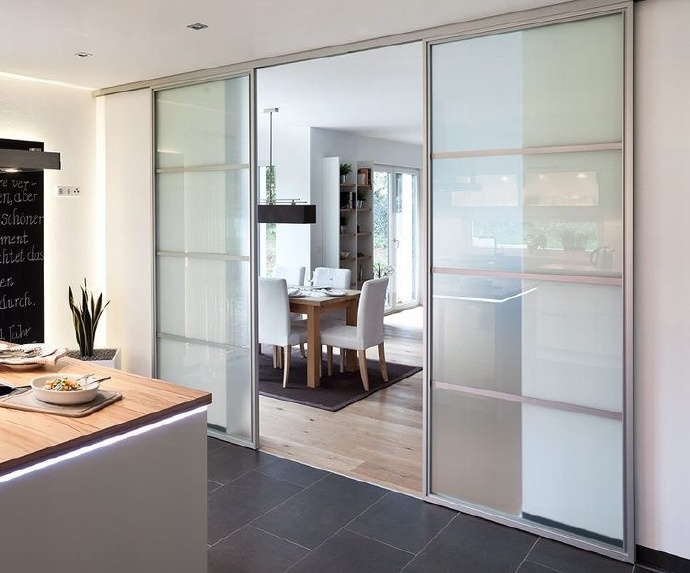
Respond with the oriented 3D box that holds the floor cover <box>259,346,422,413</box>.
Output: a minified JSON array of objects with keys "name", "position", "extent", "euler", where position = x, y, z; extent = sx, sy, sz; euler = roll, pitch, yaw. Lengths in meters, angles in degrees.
[{"name":"floor cover","position":[-0.222,0.879,5.364],"extent":[1.843,0.021,1.888],"euler":[-8,8,-28]}]

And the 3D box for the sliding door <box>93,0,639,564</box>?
[{"name":"sliding door","position":[0.035,-0.027,3.212],"extent":[3.100,2.212,0.230],"euler":[3,4,38]}]
